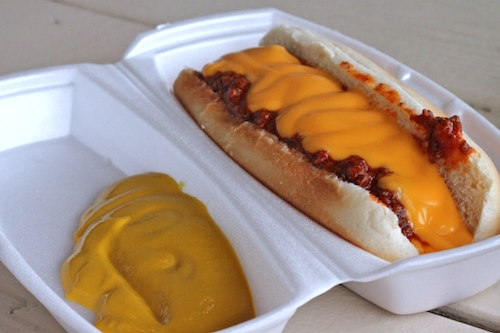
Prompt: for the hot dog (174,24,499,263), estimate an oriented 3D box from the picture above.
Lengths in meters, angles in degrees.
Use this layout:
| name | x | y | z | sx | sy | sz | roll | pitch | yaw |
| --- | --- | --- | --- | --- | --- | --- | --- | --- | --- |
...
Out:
| name | x | y | z | sx | sy | sz | roll | pitch | yaw |
| --- | --- | --- | --- | --- | --- | --- | --- | --- | --- |
| hot dog | 0.174 | -0.109 | 1.242 | 0.433 | 0.237 | 0.780 | -31 | 55 | -22 |
